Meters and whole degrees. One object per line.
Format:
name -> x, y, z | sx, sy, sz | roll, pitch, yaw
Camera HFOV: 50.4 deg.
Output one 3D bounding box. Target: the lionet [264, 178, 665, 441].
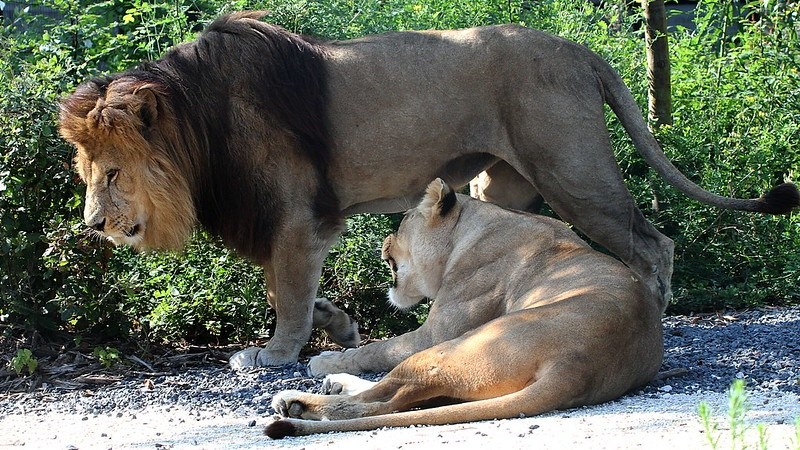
lionet -> 0.910, 0.725, 7.398 | 2.522, 1.003, 2.551 | 31, -47, -31
